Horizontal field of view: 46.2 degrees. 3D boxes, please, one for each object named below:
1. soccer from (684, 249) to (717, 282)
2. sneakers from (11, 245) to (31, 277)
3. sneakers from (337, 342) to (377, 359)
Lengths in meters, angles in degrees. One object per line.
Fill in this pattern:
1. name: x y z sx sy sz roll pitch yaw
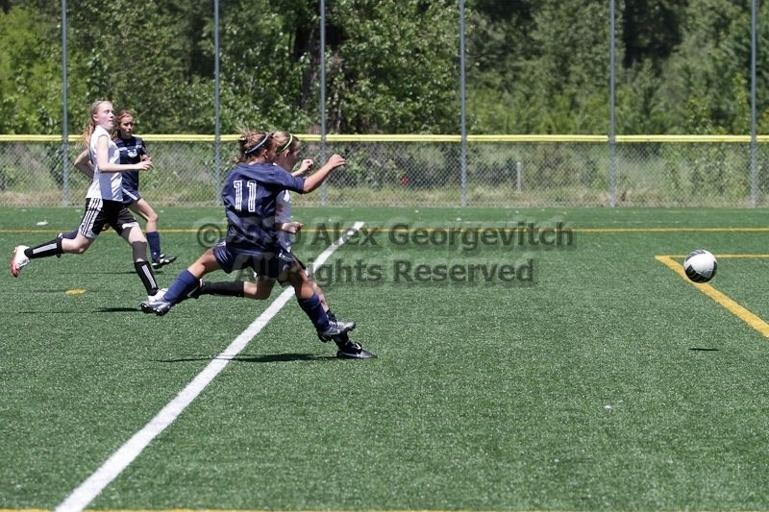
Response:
1. soccer: 3.132 0.122 8.962 0.274 0.343 0.388 4 13 19
2. sneakers: -4.212 0.076 10.482 0.206 0.377 0.137 9 -3 3
3. sneakers: -0.262 0.829 7.961 0.393 0.157 0.134 -1 0 -5
